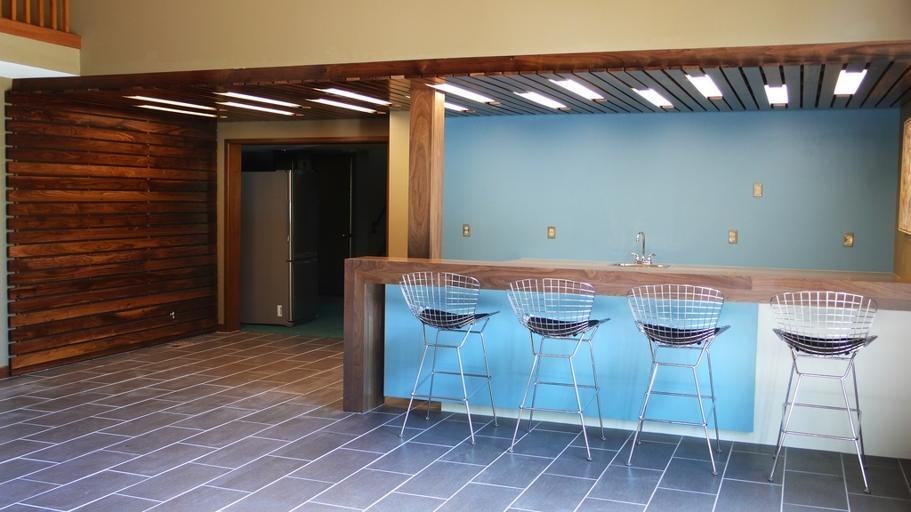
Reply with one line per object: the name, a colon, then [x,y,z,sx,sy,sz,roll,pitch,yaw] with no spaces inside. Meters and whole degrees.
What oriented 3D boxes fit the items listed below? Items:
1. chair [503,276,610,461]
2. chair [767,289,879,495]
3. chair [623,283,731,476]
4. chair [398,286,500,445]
chair: [1.086,1.108,5.963,1.109,1.698,0.734,2,11,9]
chair: [3.613,1.189,5.490,1.023,1.746,0.855,5,11,23]
chair: [2.271,1.157,5.715,1.042,1.707,0.819,4,11,17]
chair: [-0.109,1.046,6.281,1.212,1.695,0.681,3,11,13]
